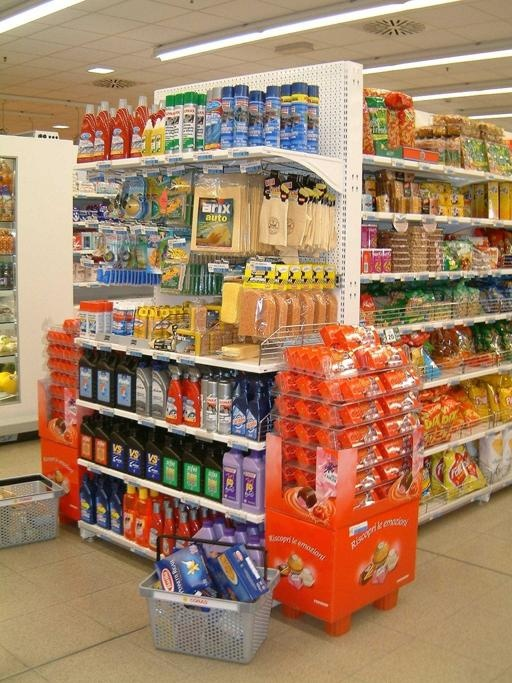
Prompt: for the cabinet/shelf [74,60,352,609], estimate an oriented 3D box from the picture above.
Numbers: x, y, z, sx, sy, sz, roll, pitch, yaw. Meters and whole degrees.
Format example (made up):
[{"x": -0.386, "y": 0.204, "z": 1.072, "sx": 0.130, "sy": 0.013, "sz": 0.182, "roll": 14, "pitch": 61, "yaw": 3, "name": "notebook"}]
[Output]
[{"x": -0.108, "y": -0.213, "z": 2.738, "sx": 1.275, "sy": 2.587, "sz": 0.767, "roll": -2, "pitch": -4, "yaw": 37, "name": "cabinet/shelf"}]
